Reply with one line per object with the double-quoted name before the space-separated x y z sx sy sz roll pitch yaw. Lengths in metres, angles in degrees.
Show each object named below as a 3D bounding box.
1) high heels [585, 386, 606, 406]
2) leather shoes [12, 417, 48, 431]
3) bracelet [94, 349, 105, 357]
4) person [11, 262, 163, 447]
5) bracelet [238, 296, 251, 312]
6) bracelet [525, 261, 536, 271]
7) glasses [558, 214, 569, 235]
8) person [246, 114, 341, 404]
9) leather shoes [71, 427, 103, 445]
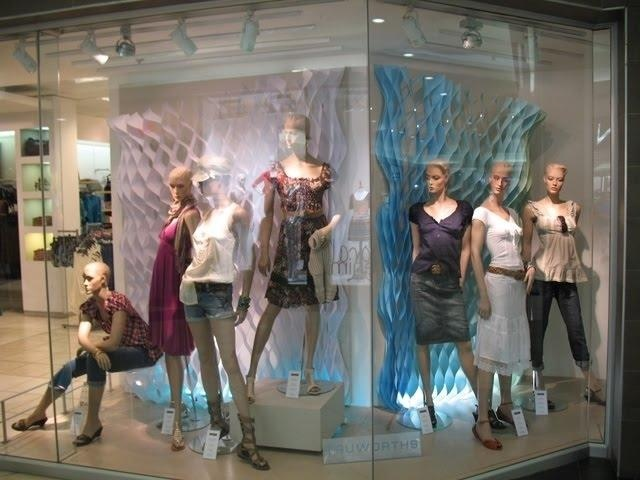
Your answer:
"high heels" 1.949 1.111 3.627 0.178 0.090 0.063 7 -3 -6
"leather shoes" -2.076 1.352 3.738 0.297 0.102 0.117 2 -2 -4
"bracelet" -1.532 0.779 3.540 0.039 0.057 0.019 0 0 7
"person" -1.480 0.816 3.783 1.187 1.550 0.755 -1 0 -42
"bracelet" -0.497 0.418 3.344 0.077 0.091 0.082 1 -3 30
"bracelet" 1.440 0.174 3.492 0.042 0.040 0.058 -2 -8 4
"glasses" 1.683 -0.104 3.534 0.061 0.126 0.043 -3 -1 -19
"person" -0.154 0.104 3.279 0.560 1.765 0.171 -2 -1 0
"leather shoes" -1.626 1.366 3.572 0.196 0.085 0.102 1 0 -25
